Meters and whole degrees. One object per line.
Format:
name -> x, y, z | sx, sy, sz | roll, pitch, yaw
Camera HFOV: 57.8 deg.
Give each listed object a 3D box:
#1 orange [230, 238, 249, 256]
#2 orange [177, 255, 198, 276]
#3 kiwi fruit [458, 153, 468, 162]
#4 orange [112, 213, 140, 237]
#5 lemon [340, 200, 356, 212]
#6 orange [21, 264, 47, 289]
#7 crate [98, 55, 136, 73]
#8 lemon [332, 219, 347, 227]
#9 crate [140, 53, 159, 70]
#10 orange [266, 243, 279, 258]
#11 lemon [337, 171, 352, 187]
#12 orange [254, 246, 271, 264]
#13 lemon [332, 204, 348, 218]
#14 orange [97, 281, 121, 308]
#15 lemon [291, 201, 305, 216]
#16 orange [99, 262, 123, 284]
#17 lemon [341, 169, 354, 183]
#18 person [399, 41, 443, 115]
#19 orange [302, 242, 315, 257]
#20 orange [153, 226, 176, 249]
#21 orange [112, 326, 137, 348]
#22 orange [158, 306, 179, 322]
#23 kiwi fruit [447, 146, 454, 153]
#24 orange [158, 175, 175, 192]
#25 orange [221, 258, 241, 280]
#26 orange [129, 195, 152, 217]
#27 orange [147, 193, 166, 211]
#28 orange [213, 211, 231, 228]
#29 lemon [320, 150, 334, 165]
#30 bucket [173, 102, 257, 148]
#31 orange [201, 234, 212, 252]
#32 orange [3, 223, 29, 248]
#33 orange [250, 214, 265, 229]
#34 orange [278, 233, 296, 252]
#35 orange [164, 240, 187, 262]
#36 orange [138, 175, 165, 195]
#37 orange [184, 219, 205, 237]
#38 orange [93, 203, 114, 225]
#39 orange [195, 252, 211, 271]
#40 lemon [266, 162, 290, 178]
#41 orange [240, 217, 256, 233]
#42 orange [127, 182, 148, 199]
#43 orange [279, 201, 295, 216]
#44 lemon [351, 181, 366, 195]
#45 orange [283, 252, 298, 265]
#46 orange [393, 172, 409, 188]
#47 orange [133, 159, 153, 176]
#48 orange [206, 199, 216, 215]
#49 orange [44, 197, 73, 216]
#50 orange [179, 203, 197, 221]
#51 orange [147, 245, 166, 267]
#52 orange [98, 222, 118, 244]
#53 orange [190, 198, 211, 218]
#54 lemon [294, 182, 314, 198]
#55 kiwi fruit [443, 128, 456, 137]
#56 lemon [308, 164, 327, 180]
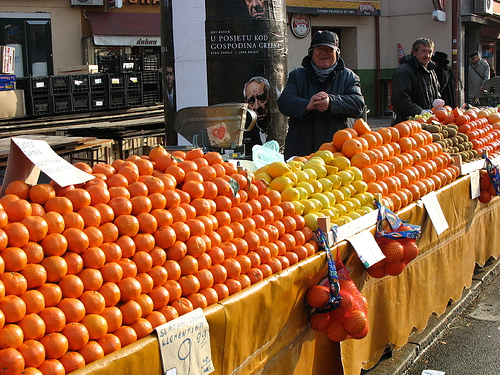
orange -> -0.058, 0.303, 2.392 | 0.065, 0.104, 0.079 | 1, 8, 5
orange -> -0.289, 0.364, 2.133 | 0.069, 0.107, 0.079 | -1, -14, -15
kiwi fruit -> 2.238, -0.321, 4.728 | 0.129, 0.088, 0.050 | -12, 12, -31
orange -> -0.547, 0.163, 2.029 | 0.084, 0.108, 0.097 | -1, -33, -16
lemon -> 0.683, 0.125, 3.131 | 0.056, 0.057, 0.074 | 3, 7, -45
orange -> -0.840, 0.350, 1.760 | 0.088, 0.112, 0.099 | -7, -10, 2
crate -> -3.040, -2.850, 10.502 | 0.604, 0.324, 0.491 | -7, 13, -35
lemon -> 0.591, 0.223, 2.965 | 0.055, 0.044, 0.045 | 5, 10, 30
crate -> -2.548, -3.192, 11.532 | 0.439, 0.420, 0.883 | -6, 12, -9
orange -> 0.122, 0.349, 2.528 | 0.057, 0.087, 0.066 | -1, 7, 4
lemon -> 0.685, -0.068, 3.292 | 0.101, 0.072, 0.079 | 1, -36, -48
orange -> 0.066, 0.352, 2.467 | 0.069, 0.108, 0.081 | 1, 6, 4
lemon -> 0.613, 0.153, 3.075 | 0.056, 0.070, 0.074 | -18, 15, -33
orange -> -0.574, 0.438, 1.866 | 0.072, 0.109, 0.085 | 3, 16, 1
lemon -> 0.303, 0.121, 2.867 | 0.082, 0.079, 0.067 | -16, -15, -43
orange -> -0.581, 0.354, 1.898 | 0.071, 0.088, 0.080 | -2, -27, -18
lemon -> 0.700, -0.085, 3.264 | 0.070, 0.069, 0.101 | -2, 4, -3
person -> 2.348, -1.458, 6.203 | 0.511, 1.158, 0.764 | 11, 38, 32
orange -> 0.349, 0.368, 2.715 | 0.052, 0.081, 0.059 | -2, -14, -14
orange -> -0.387, 0.229, 2.144 | 0.083, 0.110, 0.094 | -1, -22, 34
orange -> -0.499, 0.599, 1.851 | 0.061, 0.088, 0.069 | -2, -32, -20
orange -> -0.354, 0.548, 1.997 | 0.051, 0.064, 0.059 | 2, 14, -8
kiwi fruit -> 2.064, -0.391, 4.640 | 0.049, 0.036, 0.056 | 0, 6, -7
orange -> -0.435, -0.020, 2.357 | 0.060, 0.087, 0.067 | -9, -22, -26
orange -> -0.091, 0.398, 2.296 | 0.079, 0.125, 0.092 | 3, 8, 7
orange -> -0.513, 0.082, 2.124 | 0.076, 0.101, 0.085 | -1, 8, 0
orange -> -0.448, 0.062, 2.190 | 0.064, 0.084, 0.070 | -1, 15, -2
orange -> -0.143, 0.160, 2.412 | 0.064, 0.084, 0.072 | 0, 12, 1
lemon -> 0.571, -0.230, 3.397 | 0.084, 0.118, 0.092 | -25, -2, 27
bucket -> -0.478, -0.663, 4.406 | 0.779, 0.451, 0.738 | -1, 24, 1
orange -> -0.208, 0.273, 2.250 | 0.056, 0.086, 0.064 | -2, 6, 4
orange -> -0.902, 0.181, 1.757 | 0.076, 0.089, 0.077 | -8, 36, -34
orange -> 0.049, 0.187, 2.554 | 0.056, 0.087, 0.066 | -1, 7, 3
orange -> 0.220, 0.308, 2.636 | 0.072, 0.113, 0.085 | -2, 5, 2
orange -> -0.344, 0.297, 2.122 | 0.073, 0.099, 0.078 | -5, -4, -1
orange -> -0.492, -0.030, 2.263 | 0.080, 0.058, 0.097 | 14, 18, 9
orange -> -0.266, 0.194, 2.231 | 0.068, 0.092, 0.075 | 1, 12, 3
orange -> -0.646, 0.109, 2.017 | 0.069, 0.097, 0.078 | -10, -34, -26
orange -> -0.223, 0.361, 2.201 | 0.057, 0.085, 0.065 | 1, -27, -12
lemon -> 0.183, -0.129, 3.031 | 0.108, 0.108, 0.091 | 0, 12, 12
orange -> -0.011, 0.200, 2.503 | 0.054, 0.086, 0.066 | -2, 8, 5
orange -> -0.539, 0.008, 2.185 | 0.065, 0.096, 0.072 | -2, -26, -30
orange -> 0.229, 0.123, 2.751 | 0.066, 0.087, 0.077 | 3, 16, 1
lemon -> 0.793, -0.003, 3.297 | 0.085, 0.082, 0.069 | 0, 9, 35
orange -> 0.240, 0.402, 2.586 | 0.055, 0.071, 0.062 | 0, -11, -5
orange -> 1.245, -0.071, 3.692 | 0.077, 0.079, 0.117 | 1, 4, 4
orange -> -0.562, -0.113, 2.376 | 0.074, 0.097, 0.081 | 0, 14, -1
orange -> -0.212, 0.097, 2.410 | 0.050, 0.078, 0.057 | -2, -22, -15
orange -> -0.815, 0.076, 1.939 | 0.075, 0.092, 0.078 | -7, -8, -29
orange -> -0.312, 0.113, 2.267 | 0.064, 0.086, 0.069 | 1, 8, 1
orange -> -0.423, 0.304, 2.053 | 0.063, 0.098, 0.073 | -2, 7, -12
orange -> -0.613, 0.191, 1.974 | 0.064, 0.084, 0.073 | -12, 14, 7
orange -> -0.254, 0.102, 2.311 | 0.075, 0.115, 0.082 | -2, -3, -25
lemon -> 0.361, 0.006, 3.022 | 0.079, 0.098, 0.105 | -12, 11, -32
kiwi fruit -> 2.128, -0.588, 4.798 | 0.096, 0.075, 0.074 | 3, 5, 36
lemon -> 0.483, -0.127, 3.227 | 0.097, 0.092, 0.081 | 5, 36, 46
